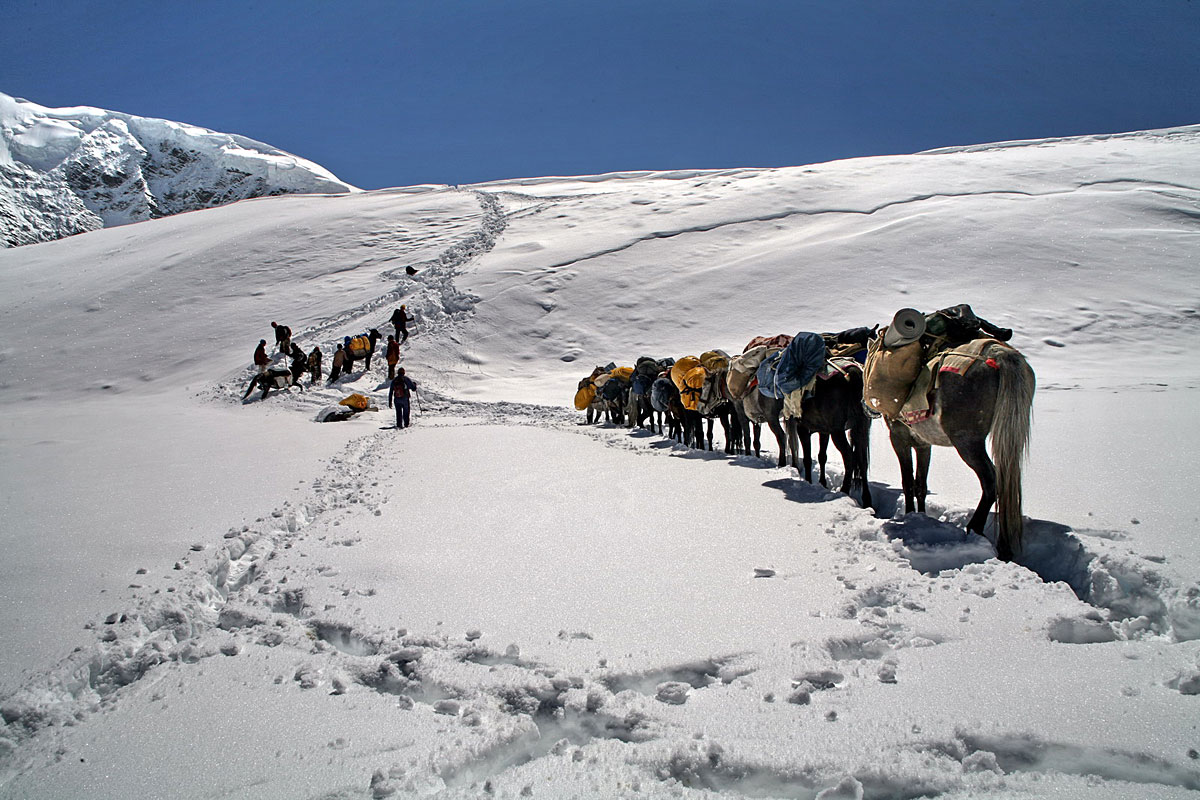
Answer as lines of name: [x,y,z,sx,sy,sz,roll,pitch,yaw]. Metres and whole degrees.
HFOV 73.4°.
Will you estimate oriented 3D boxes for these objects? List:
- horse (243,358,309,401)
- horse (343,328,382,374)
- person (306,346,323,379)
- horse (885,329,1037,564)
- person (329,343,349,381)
horse: [-9.877,-0.573,24.569,0.810,0.900,2.922,9,9,-10]
horse: [-8.580,-1.726,28.730,1.079,1.213,2.940,-4,11,-13]
person: [-9.348,-1.114,26.226,0.381,1.007,0.526,-4,12,-12]
horse: [4.686,0.496,11.089,1.114,2.866,4.038,3,-1,-5]
person: [-8.847,-1.239,27.141,0.566,1.050,1.252,-3,11,-7]
